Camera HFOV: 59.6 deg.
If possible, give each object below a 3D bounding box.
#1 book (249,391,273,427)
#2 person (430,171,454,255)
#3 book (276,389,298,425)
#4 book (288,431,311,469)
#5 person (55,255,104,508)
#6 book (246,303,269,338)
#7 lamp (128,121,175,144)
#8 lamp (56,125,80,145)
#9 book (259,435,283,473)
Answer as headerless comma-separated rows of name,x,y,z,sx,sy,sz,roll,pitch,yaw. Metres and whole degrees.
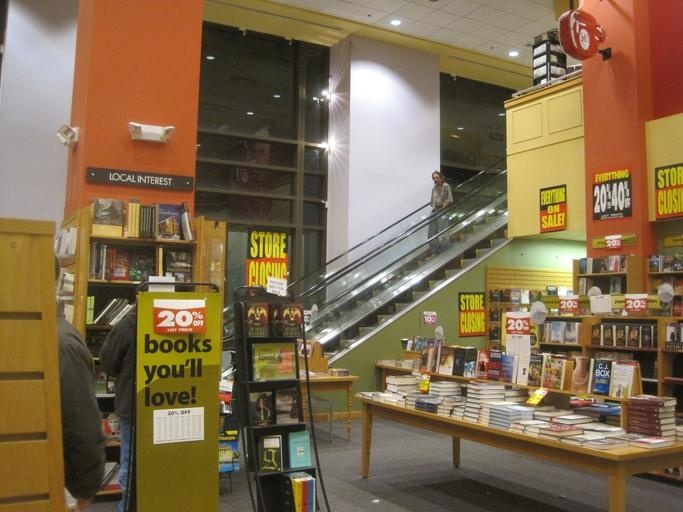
book,-0.687,1.289,5.044,0.241,0.318,0.096,1,-12,-23
person,2.099,-0.947,12.572,0.492,1.867,1.206,0,-2,10
book,-0.476,1.298,5.124,0.257,0.391,0.040,5,-11,-37
book,-0.364,1.654,5.096,0.258,0.407,0.043,2,-9,-25
person,-1.540,0.926,3.521,0.268,1.058,0.438,2,-3,-27
book,-0.723,0.549,5.081,0.244,0.379,0.037,3,-9,-29
lamp,-2.082,-1.377,6.553,0.499,0.212,0.235,1,-2,-22
lamp,-3.129,-1.400,6.845,0.163,0.220,0.350,2,-3,-41
book,-0.593,1.647,4.969,0.245,0.392,0.037,1,-11,-15
